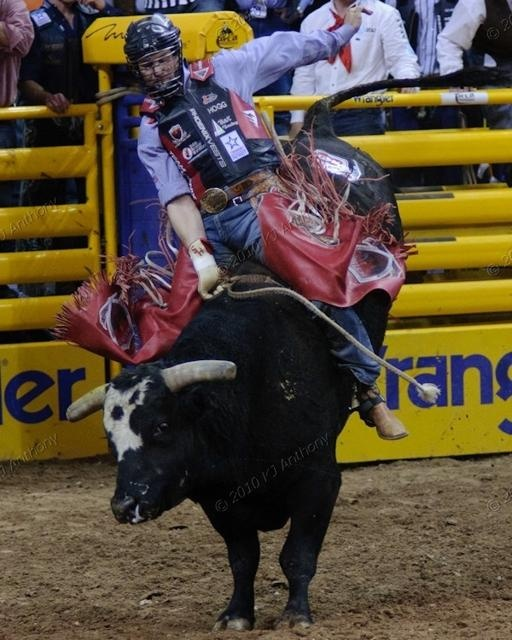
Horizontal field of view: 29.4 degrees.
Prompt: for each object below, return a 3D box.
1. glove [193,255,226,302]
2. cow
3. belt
[{"bbox_3d":[-0.205,-0.167,3.981,0.143,0.167,0.056,-2,-23,-28],"label":"glove"},{"bbox_3d":[-0.058,0.230,3.991,1.154,1.897,1.719,4,18,17],"label":"cow"},{"bbox_3d":[-0.081,-0.536,4.167,0.286,0.056,0.155,-20,7,-2],"label":"belt"}]
